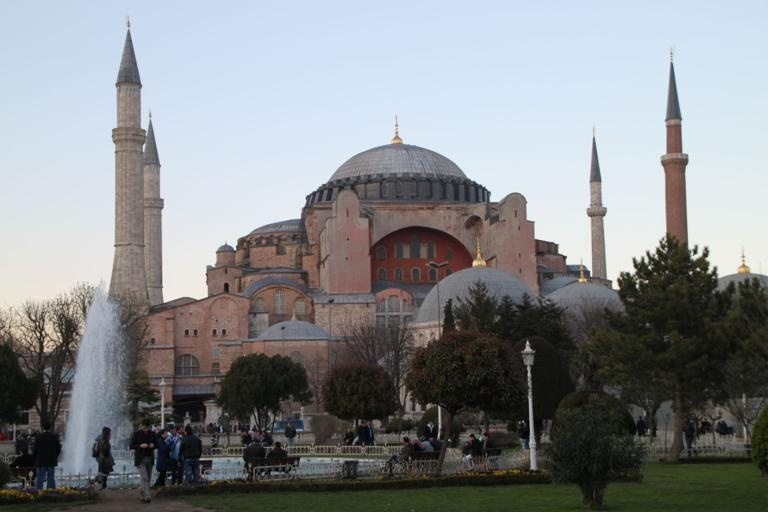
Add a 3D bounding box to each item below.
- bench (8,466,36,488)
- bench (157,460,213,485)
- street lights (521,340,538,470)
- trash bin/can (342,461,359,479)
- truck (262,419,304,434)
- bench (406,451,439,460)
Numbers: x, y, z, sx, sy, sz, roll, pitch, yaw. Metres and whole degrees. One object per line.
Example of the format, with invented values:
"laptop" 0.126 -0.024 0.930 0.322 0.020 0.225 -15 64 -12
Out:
"bench" -11.818 7.237 51.672 1.040 0.944 0.551 2 -22 -12
"bench" -6.389 7.062 52.317 1.716 1.037 1.022 2 -9 -9
"street lights" 5.226 5.272 54.416 0.754 4.049 0.884 5 2 2
"trash bin/can" -1.123 7.163 52.908 0.711 0.653 0.513 4 -11 -23
"truck" -4.674 8.061 75.083 1.668 0.859 1.040 2 -6 -7
"bench" 1.400 6.776 53.259 1.091 0.288 0.272 5 -15 -33
